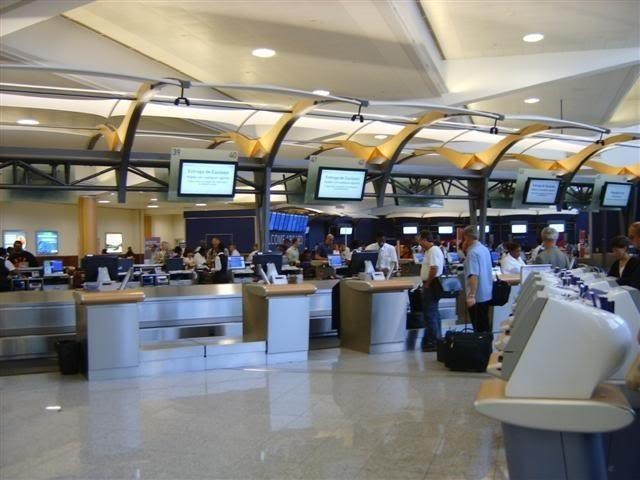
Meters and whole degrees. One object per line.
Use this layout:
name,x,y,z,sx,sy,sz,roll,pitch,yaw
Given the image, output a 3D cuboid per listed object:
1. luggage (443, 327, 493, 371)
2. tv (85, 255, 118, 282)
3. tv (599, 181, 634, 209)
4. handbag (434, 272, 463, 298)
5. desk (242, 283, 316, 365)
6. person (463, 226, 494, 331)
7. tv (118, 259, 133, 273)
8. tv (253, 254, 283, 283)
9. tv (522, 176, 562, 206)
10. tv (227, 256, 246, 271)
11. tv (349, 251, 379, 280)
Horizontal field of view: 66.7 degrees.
luggage,2.178,1.610,7.273,0.841,0.552,0.575,-1,-10,19
tv,-4.115,0.528,9.111,0.630,0.429,0.295,-1,4,-29
tv,11.523,-1.784,18.850,1.491,1.047,0.313,6,9,-23
handbag,2.139,0.752,8.090,0.628,0.457,0.251,0,-6,-36
desk,-0.692,1.366,7.921,1.087,1.199,1.530,0,0,-38
person,2.579,0.631,7.859,0.422,1.698,1.523,-1,0,19
tv,-4.428,0.573,11.035,0.454,0.328,0.207,0,17,-28
tv,-1.055,0.541,9.861,0.856,0.469,0.361,1,3,-35
tv,7.653,-1.725,16.837,1.461,0.765,0.126,-1,7,-16
tv,-2.491,0.719,14.483,0.632,0.465,0.439,4,-16,-39
tv,0.928,0.529,10.204,0.722,0.399,0.307,-4,9,-34
